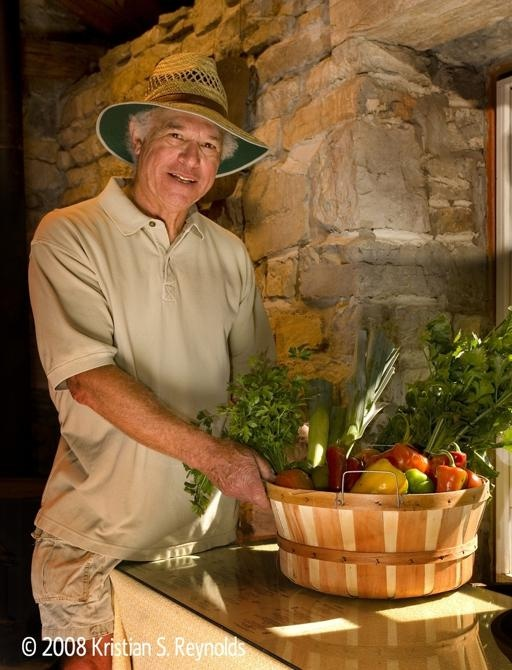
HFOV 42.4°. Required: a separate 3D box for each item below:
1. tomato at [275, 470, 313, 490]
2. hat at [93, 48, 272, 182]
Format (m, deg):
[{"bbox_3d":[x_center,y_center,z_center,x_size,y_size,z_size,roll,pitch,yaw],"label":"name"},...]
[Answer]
[{"bbox_3d":[0.064,0.245,1.114,0.040,0.045,0.037,-6,2,-29],"label":"tomato"},{"bbox_3d":[-0.159,-0.601,1.641,0.308,0.142,0.298,2,12,-41],"label":"hat"}]
